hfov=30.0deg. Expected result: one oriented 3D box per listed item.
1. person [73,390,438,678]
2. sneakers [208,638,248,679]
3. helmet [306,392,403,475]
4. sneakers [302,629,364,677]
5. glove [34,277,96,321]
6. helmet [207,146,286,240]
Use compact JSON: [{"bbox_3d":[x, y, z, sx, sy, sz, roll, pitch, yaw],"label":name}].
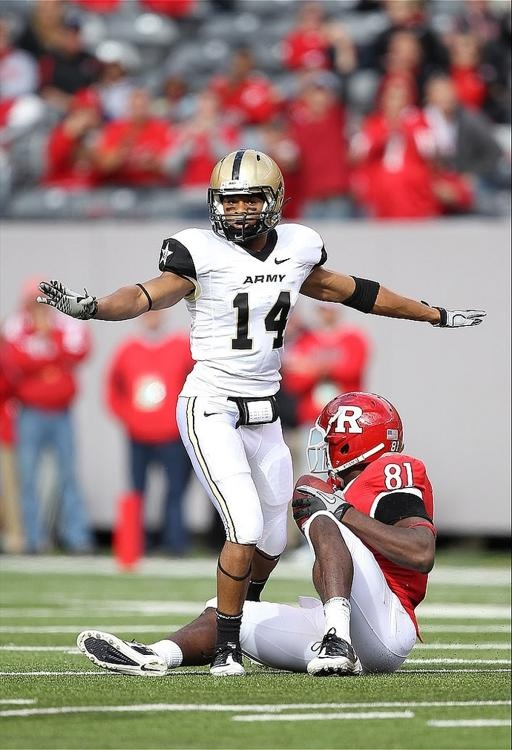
[{"bbox_3d":[0.111,0.506,2.904,0.807,1.024,0.747,14,64,-42],"label":"person"},{"bbox_3d":[-0.083,0.813,2.741,0.112,0.238,0.085,2,77,-4],"label":"sneakers"},{"bbox_3d":[0.335,0.180,2.924,0.270,0.351,0.249,0,90,-54],"label":"helmet"},{"bbox_3d":[0.196,0.717,2.465,0.094,0.211,0.090,-8,69,8],"label":"sneakers"},{"bbox_3d":[-0.520,-0.191,2.577,0.199,0.050,0.104,10,64,-27],"label":"glove"},{"bbox_3d":[-0.027,-0.609,3.173,0.275,0.242,0.326,-3,21,7],"label":"helmet"}]
